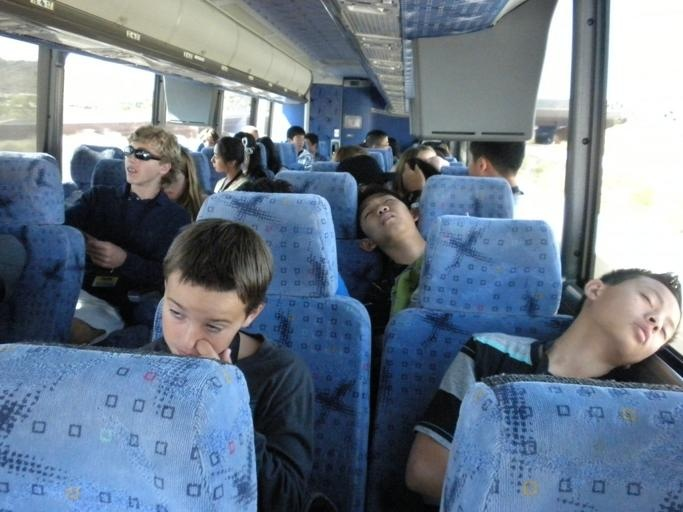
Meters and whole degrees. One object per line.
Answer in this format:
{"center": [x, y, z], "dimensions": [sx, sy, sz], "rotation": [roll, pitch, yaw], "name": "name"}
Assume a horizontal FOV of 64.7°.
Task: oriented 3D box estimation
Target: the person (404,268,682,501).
{"center": [0.611, 0.386, 1.632], "dimensions": [0.788, 0.716, 0.347], "rotation": [5, 11, 3], "name": "person"}
